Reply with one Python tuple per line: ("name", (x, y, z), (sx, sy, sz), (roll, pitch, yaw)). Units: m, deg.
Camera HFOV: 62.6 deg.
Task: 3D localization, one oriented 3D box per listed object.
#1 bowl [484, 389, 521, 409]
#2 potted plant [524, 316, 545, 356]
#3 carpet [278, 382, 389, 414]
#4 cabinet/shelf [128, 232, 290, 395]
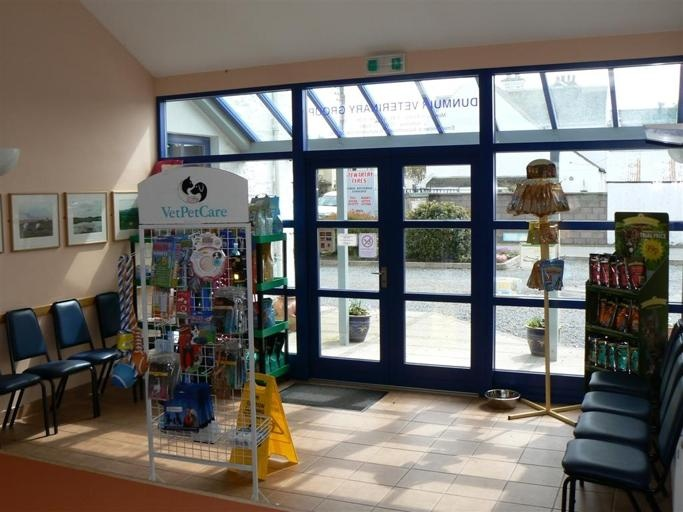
("bowl", (1.701, 1.501, 5.954), (0.386, 0.130, 0.322), (2, 9, 15))
("potted plant", (2.171, 0.888, 6.105), (0.341, 0.357, 0.349), (-1, 4, 22))
("carpet", (-0.157, 1.556, 6.315), (1.171, 0.024, 0.736), (3, 9, 22))
("cabinet/shelf", (-1.160, 0.496, 4.786), (1.805, 1.678, 0.600), (2, 7, 21))
